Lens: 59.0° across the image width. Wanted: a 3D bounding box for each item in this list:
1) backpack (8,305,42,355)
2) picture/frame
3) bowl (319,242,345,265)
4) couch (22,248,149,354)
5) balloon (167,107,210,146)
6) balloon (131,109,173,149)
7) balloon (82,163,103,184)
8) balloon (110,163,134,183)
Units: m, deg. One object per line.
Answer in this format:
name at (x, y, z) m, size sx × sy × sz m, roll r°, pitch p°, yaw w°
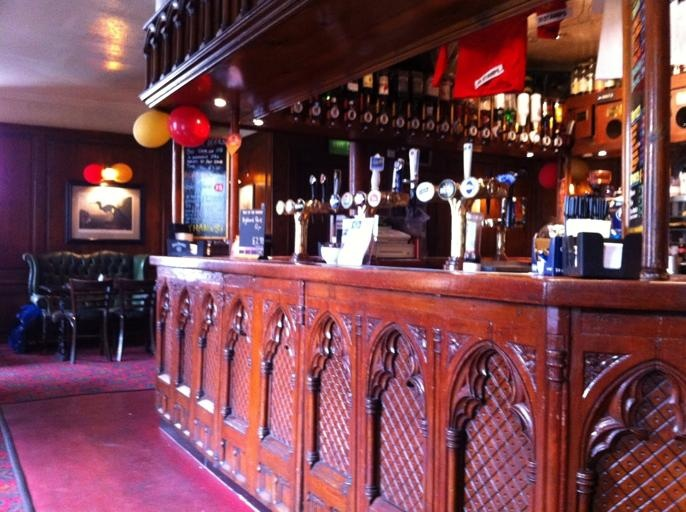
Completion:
backpack at (-3.978, 0.914, 7.663) m, size 0.303 × 0.595 × 0.311 m, roll 2°, pitch 2°, yaw 18°
picture/frame at (-3.534, -0.662, 8.858) m, size 0.784 × 0.730 × 0.064 m, roll 0°, pitch 1°, yaw -24°
bowl at (-0.069, -0.019, 3.641) m, size 0.116 × 0.100 × 0.113 m, roll 0°, pitch 1°, yaw 0°
couch at (-3.256, 0.619, 7.981) m, size 1.549 × 1.548 × 1.259 m, roll 2°, pitch -4°, yaw -44°
balloon at (-1.249, -1.072, 4.937) m, size 0.303 × 0.305 × 0.237 m, roll 0°, pitch 2°, yaw -18°
balloon at (-1.713, -1.175, 5.486) m, size 0.335 × 0.315 × 0.224 m, roll 2°, pitch 2°, yaw 16°
balloon at (-3.484, -1.157, 8.443) m, size 0.215 × 0.219 × 0.203 m, roll 9°, pitch -14°, yaw 10°
balloon at (-3.179, -1.223, 8.760) m, size 0.241 × 0.302 × 0.503 m, roll 0°, pitch 2°, yaw -18°
